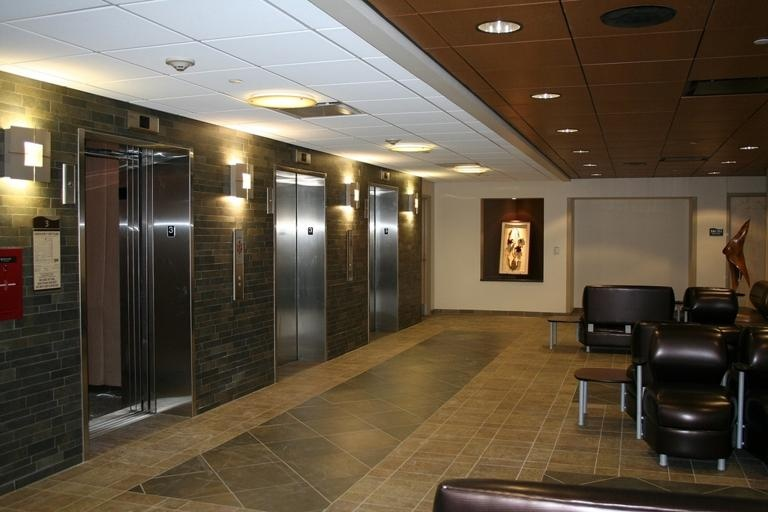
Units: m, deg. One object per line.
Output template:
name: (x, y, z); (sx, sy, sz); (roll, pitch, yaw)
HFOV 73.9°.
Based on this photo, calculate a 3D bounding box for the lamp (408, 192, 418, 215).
lamp: (0.683, -1.271, 12.356); (0.210, 0.508, 0.613); (-2, -4, 21)

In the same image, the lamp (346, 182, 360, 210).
lamp: (-0.614, -1.152, 9.811); (0.236, 0.510, 0.624); (-1, 0, 20)

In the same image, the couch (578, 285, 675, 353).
couch: (4.565, 1.051, 9.732); (1.761, 1.097, 1.553); (1, 1, 17)

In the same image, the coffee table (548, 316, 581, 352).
coffee table: (3.741, 1.548, 10.596); (0.849, 0.590, 0.767); (-1, 3, -8)

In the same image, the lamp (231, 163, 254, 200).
lamp: (-2.017, -1.054, 7.233); (0.114, 0.499, 0.377); (3, 5, 30)
